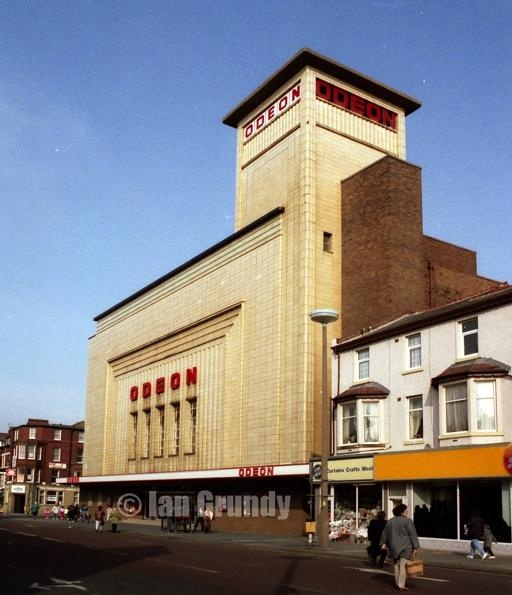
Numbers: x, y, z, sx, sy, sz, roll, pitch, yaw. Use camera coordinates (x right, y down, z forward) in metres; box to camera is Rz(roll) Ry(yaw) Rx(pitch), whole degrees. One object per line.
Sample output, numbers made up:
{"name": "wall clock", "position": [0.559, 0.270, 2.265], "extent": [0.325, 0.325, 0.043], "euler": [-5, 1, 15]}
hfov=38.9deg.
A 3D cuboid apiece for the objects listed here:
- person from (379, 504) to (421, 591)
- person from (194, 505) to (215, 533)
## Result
{"name": "person", "position": [2.772, 4.816, 14.052], "extent": [0.696, 1.581, 1.058], "euler": [-1, -19, 9]}
{"name": "person", "position": [-2.916, 12.285, 40.080], "extent": [0.836, 1.345, 2.625], "euler": [3, -19, -5]}
